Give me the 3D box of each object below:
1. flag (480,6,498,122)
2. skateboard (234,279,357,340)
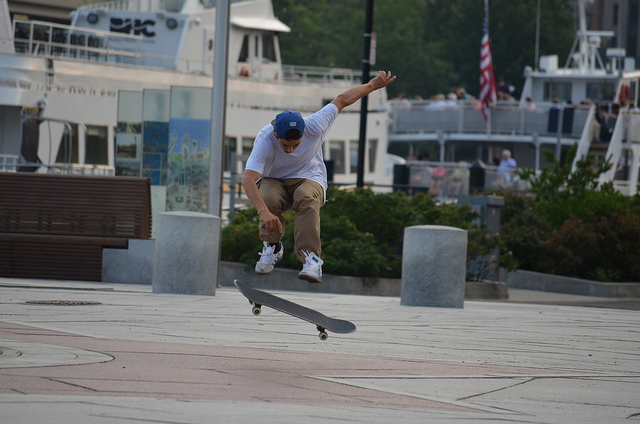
[{"bbox_3d":[4.491,-4.068,41.334,0.528,2.729,1.557,4,1,6],"label":"flag"},{"bbox_3d":[-0.454,1.969,32.069,1.747,0.294,0.467,23,21,5],"label":"skateboard"}]
